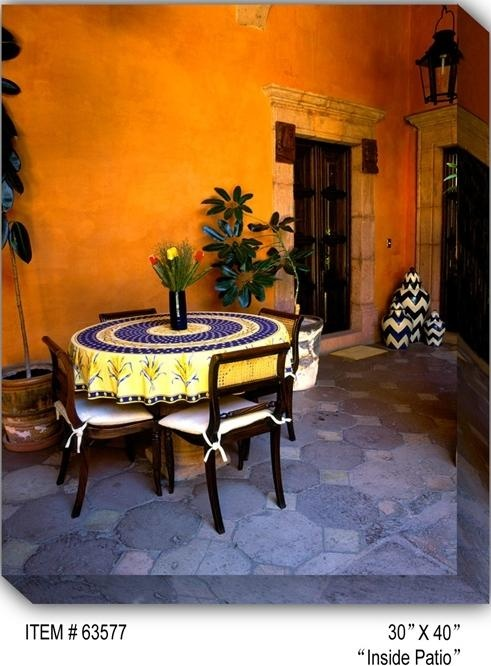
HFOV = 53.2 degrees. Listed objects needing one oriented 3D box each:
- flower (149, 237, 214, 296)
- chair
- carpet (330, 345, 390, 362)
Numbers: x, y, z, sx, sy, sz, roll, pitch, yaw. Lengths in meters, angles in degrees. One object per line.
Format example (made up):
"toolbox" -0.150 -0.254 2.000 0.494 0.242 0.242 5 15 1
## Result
"flower" -0.438 -0.449 3.206 0.393 0.453 0.448 -9 18 -23
"chair" -0.299 0.231 2.273 0.969 0.613 0.968 -2 4 -15
"carpet" 1.201 0.212 5.188 0.774 0.012 0.439 -10 14 -41
